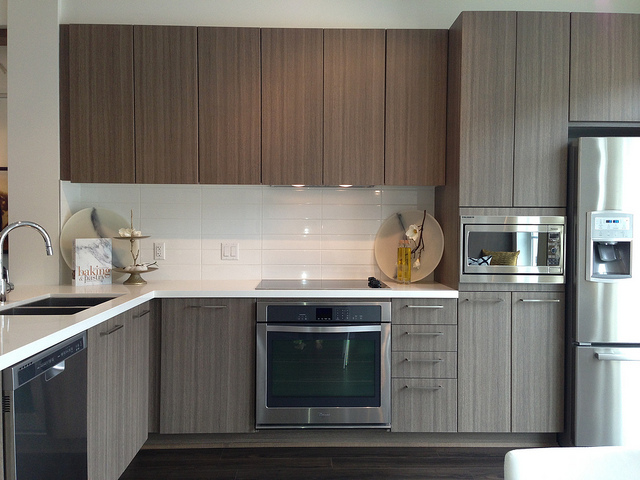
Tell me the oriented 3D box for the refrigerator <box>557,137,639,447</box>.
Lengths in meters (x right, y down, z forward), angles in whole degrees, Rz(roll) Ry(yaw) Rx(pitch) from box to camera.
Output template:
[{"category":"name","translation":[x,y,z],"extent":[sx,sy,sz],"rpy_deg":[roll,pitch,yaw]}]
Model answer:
[{"category":"refrigerator","translation":[1.788,0.329,3.945],"extent":[0.435,1.917,0.245],"rpy_deg":[0,-4,6]}]

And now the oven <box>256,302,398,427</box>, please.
[{"category":"oven","translation":[0.010,0.803,4.266],"extent":[0.942,0.826,0.641],"rpy_deg":[0,-1,-8]}]

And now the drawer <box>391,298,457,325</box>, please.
[{"category":"drawer","translation":[0.668,0.454,4.004],"extent":[0.424,0.168,0.032],"rpy_deg":[1,-4,-3]}]

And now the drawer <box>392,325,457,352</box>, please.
[{"category":"drawer","translation":[0.671,0.630,4.007],"extent":[0.409,0.166,0.030],"rpy_deg":[1,-4,-3]}]

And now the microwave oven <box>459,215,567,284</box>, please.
[{"category":"microwave oven","translation":[1.251,0.037,4.203],"extent":[0.694,0.457,0.365],"rpy_deg":[-1,9,0]}]

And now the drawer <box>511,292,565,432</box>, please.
[{"category":"drawer","translation":[1.483,0.764,4.221],"extent":[0.448,0.954,0.495],"rpy_deg":[6,24,30]}]

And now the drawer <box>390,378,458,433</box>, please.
[{"category":"drawer","translation":[0.669,1.057,3.877],"extent":[0.364,0.274,0.370],"rpy_deg":[0,-5,2]}]

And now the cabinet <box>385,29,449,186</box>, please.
[{"category":"cabinet","translation":[0.559,-0.920,4.394],"extent":[0.555,1.029,0.440],"rpy_deg":[-2,12,-14]}]

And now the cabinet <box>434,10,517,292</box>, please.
[{"category":"cabinet","translation":[1.020,-0.529,4.258],"extent":[0.582,1.886,0.425],"rpy_deg":[-7,8,-25]}]

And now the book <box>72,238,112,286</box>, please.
[{"category":"book","translation":[-1.527,0.150,4.154],"extent":[0.043,0.380,0.306],"rpy_deg":[-5,-5,40]}]
